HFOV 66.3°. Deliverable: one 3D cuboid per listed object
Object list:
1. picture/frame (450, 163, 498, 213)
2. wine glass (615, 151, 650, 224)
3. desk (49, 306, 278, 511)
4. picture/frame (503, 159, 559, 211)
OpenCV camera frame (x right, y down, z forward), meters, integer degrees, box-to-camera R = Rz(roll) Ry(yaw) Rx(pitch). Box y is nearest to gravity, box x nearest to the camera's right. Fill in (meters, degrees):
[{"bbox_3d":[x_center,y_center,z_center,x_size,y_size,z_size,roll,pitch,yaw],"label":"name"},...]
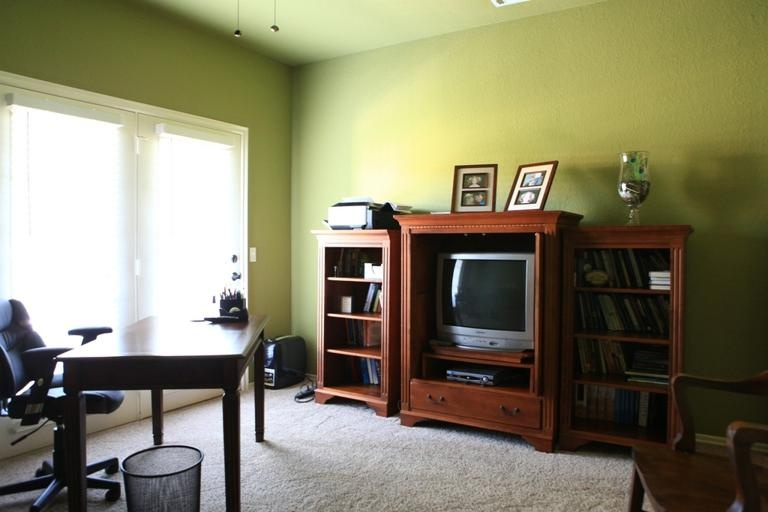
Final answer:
[{"bbox_3d":[0.746,-0.559,4.834,0.490,0.553,0.044,2,-15,19],"label":"picture/frame"},{"bbox_3d":[1.883,-0.520,4.413,0.213,0.536,0.224,3,12,9],"label":"wine glass"},{"bbox_3d":[-1.424,1.018,3.973,1.094,1.066,1.150,0,12,-4],"label":"desk"},{"bbox_3d":[1.141,-0.557,4.622,0.344,0.390,0.314,7,13,25],"label":"picture/frame"}]
